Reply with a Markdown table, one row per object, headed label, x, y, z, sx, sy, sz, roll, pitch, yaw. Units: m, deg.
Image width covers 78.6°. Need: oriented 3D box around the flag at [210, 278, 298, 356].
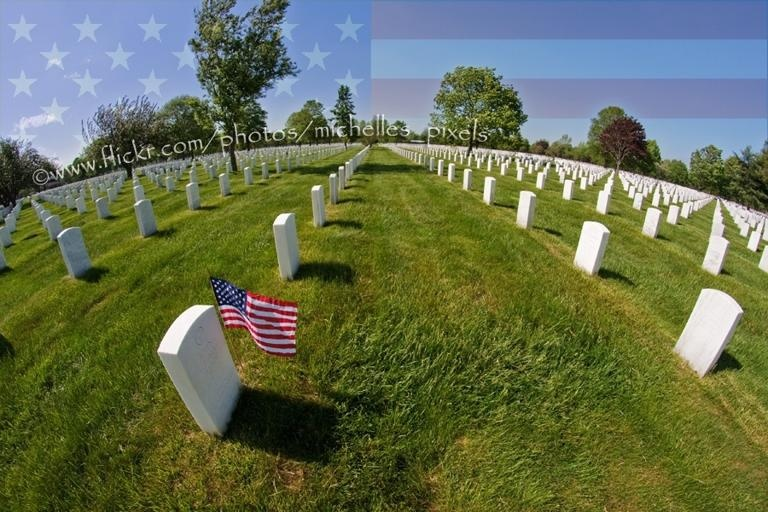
| label | x | y | z | sx | sy | sz | roll | pitch | yaw |
| --- | --- | --- | --- | --- | --- | --- | --- | --- | --- |
| flag | -2.418 | 1.193 | 9.046 | 1.697 | 1.441 | 0.146 | 13 | 30 | 16 |
